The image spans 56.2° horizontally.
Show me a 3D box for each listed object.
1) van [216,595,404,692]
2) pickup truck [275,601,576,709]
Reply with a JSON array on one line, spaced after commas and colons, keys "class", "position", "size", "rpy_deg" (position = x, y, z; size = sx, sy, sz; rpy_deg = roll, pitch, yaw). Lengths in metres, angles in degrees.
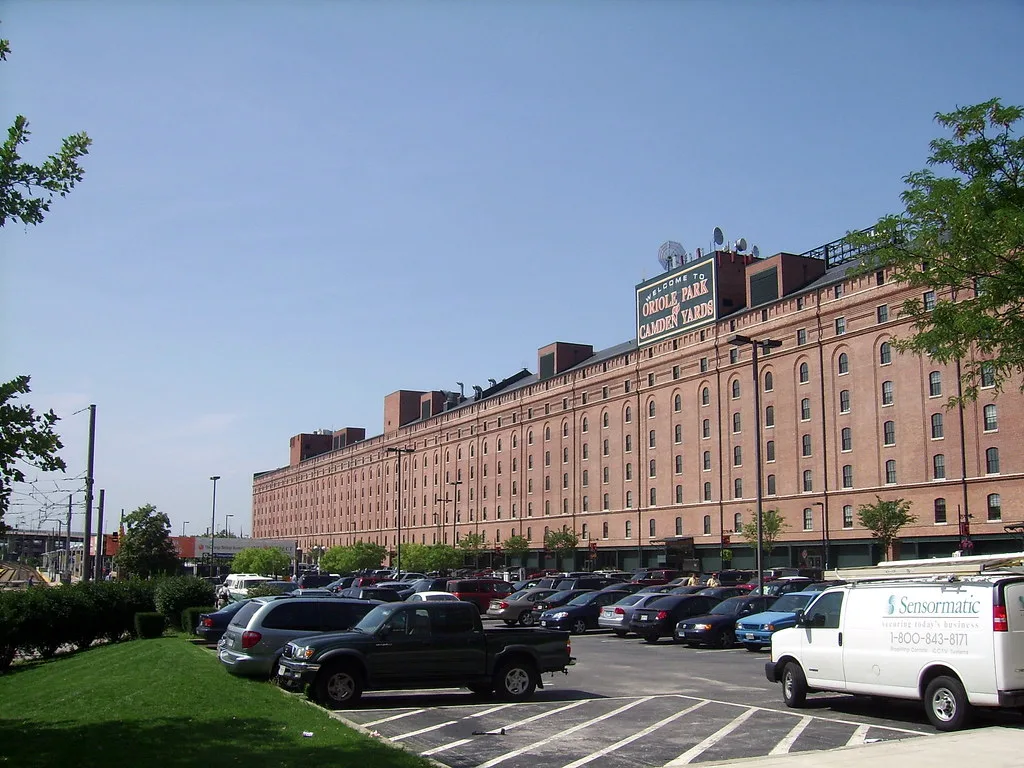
[{"class": "van", "position": [-5.337, 6.636, 25.298], "size": [4.399, 1.517, 1.982], "rpy_deg": [-1, -5, -29]}, {"class": "pickup truck", "position": [-2.087, 6.376, 22.502], "size": [5.671, 1.901, 2.720], "rpy_deg": [6, -17, -19]}]
